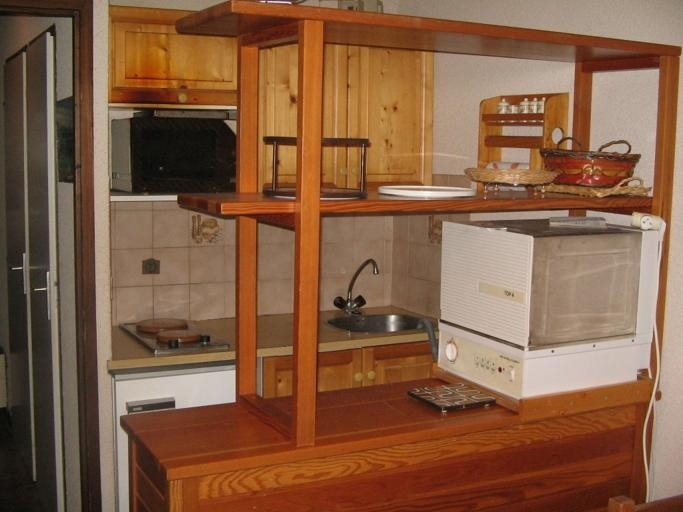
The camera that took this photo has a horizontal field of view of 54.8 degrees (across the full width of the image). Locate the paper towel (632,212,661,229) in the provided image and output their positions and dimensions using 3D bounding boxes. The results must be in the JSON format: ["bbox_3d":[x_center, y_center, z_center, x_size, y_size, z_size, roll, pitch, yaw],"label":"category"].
[{"bbox_3d":[1.011,-0.115,2.185,0.083,0.049,0.029,4,24,8],"label":"paper towel"}]

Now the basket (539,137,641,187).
[{"bbox_3d":[0.902,-0.342,2.380,0.369,0.152,0.278,-2,10,-16],"label":"basket"}]

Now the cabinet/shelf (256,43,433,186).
[{"bbox_3d":[-0.087,-0.821,3.900,1.256,0.994,0.459,-11,20,-40],"label":"cabinet/shelf"}]

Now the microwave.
[{"bbox_3d":[-0.876,-0.521,3.500,0.707,0.395,0.451,-2,5,-25],"label":"microwave"}]

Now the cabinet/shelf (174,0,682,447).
[{"bbox_3d":[0.339,-0.119,2.145,1.596,1.213,0.452,-3,4,-23],"label":"cabinet/shelf"}]
